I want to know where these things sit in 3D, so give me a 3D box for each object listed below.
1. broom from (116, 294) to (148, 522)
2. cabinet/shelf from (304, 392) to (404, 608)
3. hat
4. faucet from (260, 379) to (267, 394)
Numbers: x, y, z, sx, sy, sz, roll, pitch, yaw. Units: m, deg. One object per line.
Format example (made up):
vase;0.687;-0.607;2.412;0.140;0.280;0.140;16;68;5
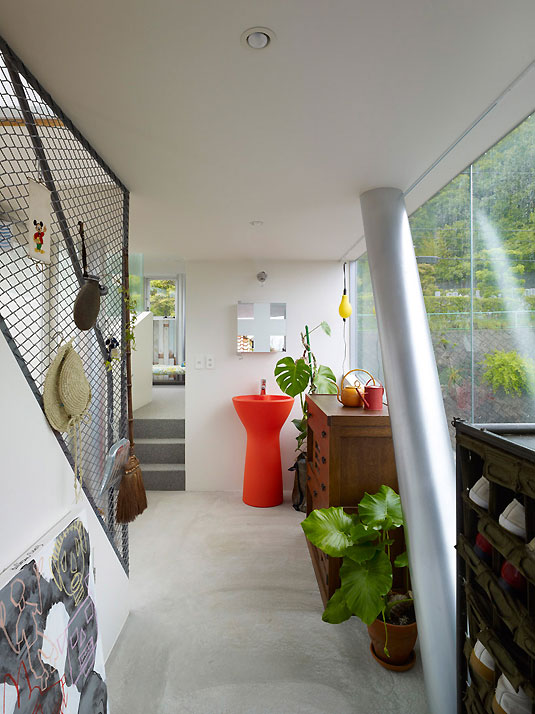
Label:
broom;-0.627;0.244;2.139;0.099;1.004;0.250;5;-13;-44
cabinet/shelf;0.402;0.652;2.076;0.317;0.881;0.961;0;-2;5
hat;-0.647;0.105;1.497;0.071;0.300;0.284;0;0;-8
faucet;-0.035;0.267;4.033;0.053;0.127;0.071;0;0;-6
